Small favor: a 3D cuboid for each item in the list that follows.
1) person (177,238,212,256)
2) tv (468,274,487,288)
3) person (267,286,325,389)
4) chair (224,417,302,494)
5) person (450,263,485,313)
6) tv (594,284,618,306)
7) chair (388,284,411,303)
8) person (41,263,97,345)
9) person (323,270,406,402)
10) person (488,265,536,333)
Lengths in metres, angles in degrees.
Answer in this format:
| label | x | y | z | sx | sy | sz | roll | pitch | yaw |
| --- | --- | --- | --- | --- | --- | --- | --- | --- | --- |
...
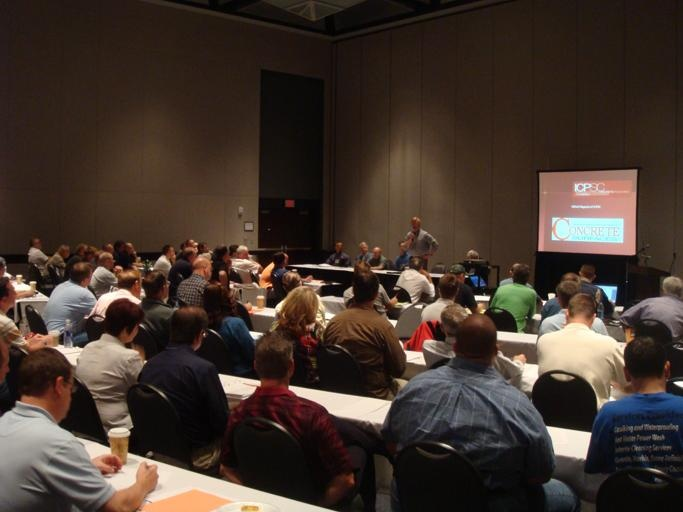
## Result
| label | x | y | z | sx | sy | sz | roll | pitch | yaw |
| --- | --- | --- | --- | --- | --- | --- | --- | --- | --- |
| person | -3.406 | -0.211 | 12.312 | 0.698 | 0.391 | 0.963 | 4 | -3 | -26 |
| tv | 2.766 | 0.498 | 10.724 | 0.161 | 0.186 | 0.308 | -7 | -33 | 46 |
| person | -0.396 | 0.844 | 4.516 | 0.394 | 1.157 | 0.530 | 11 | 27 | 10 |
| chair | -0.370 | 0.985 | 2.618 | 0.216 | 0.473 | 0.257 | 8 | 20 | 24 |
| person | 1.626 | 0.524 | 6.952 | 0.417 | 0.809 | 0.472 | -6 | 0 | -38 |
| tv | 3.570 | 0.522 | 7.093 | 0.051 | 0.343 | 0.392 | -5 | 7 | -37 |
| chair | 0.989 | 0.582 | 8.515 | 0.241 | 0.139 | 0.378 | -3 | -28 | 12 |
| person | -3.306 | 0.579 | 6.428 | 0.372 | 1.032 | 0.557 | 19 | 21 | 19 |
| person | 0.221 | 0.661 | 4.411 | 0.614 | 1.185 | 0.624 | 8 | 21 | 30 |
| person | 2.300 | 0.562 | 6.999 | 0.424 | 1.163 | 0.613 | 12 | 14 | 17 |
